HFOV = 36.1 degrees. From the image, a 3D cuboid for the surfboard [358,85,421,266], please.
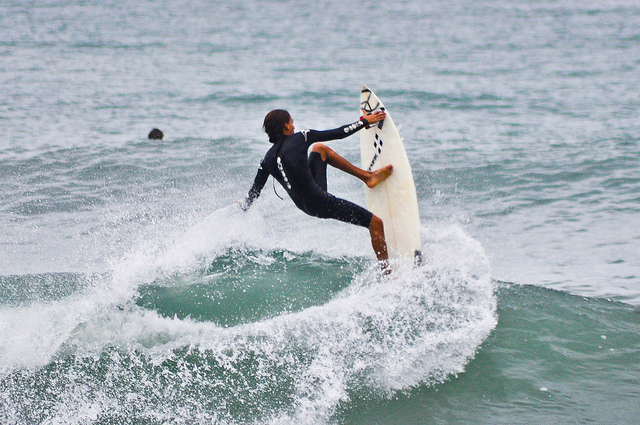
[{"bbox_3d":[1.969,-0.685,27.083,1.348,5.408,0.755,-25,-22,32],"label":"surfboard"}]
